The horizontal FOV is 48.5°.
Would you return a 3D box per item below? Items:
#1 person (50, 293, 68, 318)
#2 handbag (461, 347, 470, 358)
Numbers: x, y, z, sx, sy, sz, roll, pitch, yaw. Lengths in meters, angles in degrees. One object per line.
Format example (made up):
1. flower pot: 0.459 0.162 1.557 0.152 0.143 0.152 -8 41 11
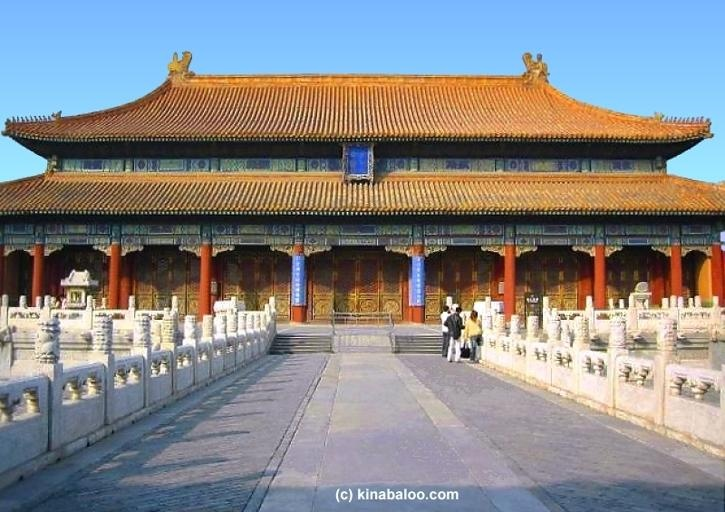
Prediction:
1. person: -12.119 2.013 32.263 0.693 1.329 0.701 1 -7 -12
2. handbag: 3.459 3.211 26.792 0.425 0.330 0.218 -5 8 -30
